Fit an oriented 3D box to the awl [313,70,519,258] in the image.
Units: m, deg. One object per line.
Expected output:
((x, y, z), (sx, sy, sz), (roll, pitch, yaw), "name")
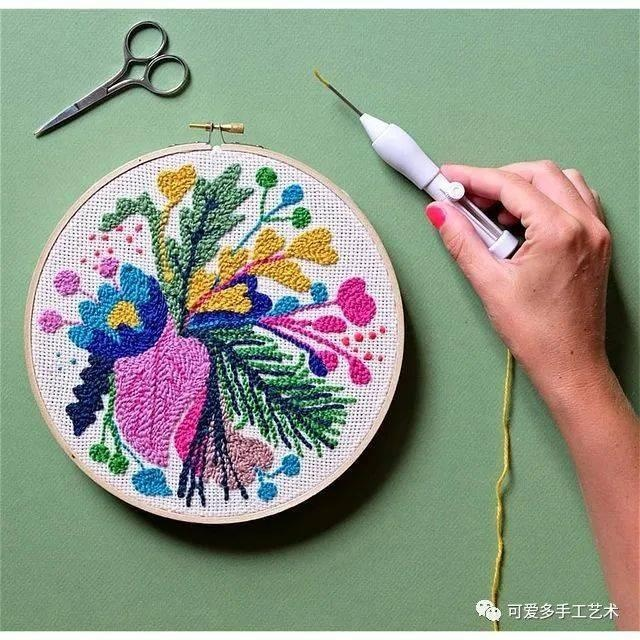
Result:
((0.127, -0.206, 1.143), (0.455, 0.075, 0.061), (42, 104, 5), "awl")

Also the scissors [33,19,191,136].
((-0.281, -0.340, 1.163), (0.230, 0.016, 0.123), (-30, 90, 1), "scissors")

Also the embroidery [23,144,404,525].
((-0.141, 0.017, 1.085), (0.503, 0.064, 0.498), (11, 83, -1), "embroidery")
